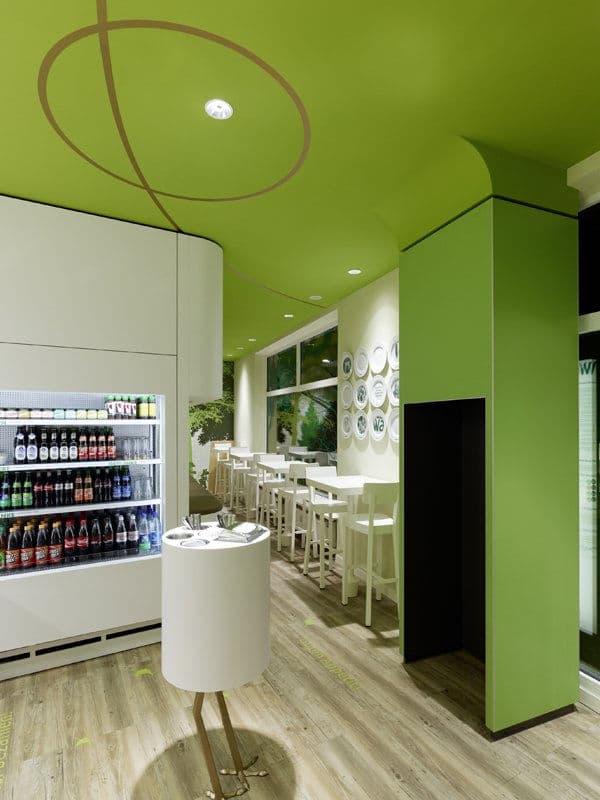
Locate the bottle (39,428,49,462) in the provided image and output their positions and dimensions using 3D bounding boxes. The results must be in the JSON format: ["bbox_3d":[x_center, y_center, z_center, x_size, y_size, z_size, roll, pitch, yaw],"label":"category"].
[{"bbox_3d":[-1.405,0.258,2.871,0.046,0.178,0.084,1,-1,-29],"label":"bottle"}]

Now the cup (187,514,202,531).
[{"bbox_3d":[-0.387,0.453,1.942,0.045,0.065,0.049,0,4,0],"label":"cup"}]

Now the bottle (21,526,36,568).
[{"bbox_3d":[-1.424,0.769,2.743,0.072,0.221,0.110,1,-1,-25],"label":"bottle"}]

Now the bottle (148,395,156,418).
[{"bbox_3d":[-0.892,0.049,3.151,0.050,0.203,0.117,-1,1,-15],"label":"bottle"}]

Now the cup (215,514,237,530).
[{"bbox_3d":[-0.266,0.445,1.940,0.055,0.053,0.063,-1,-2,-18],"label":"cup"}]

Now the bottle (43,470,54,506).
[{"bbox_3d":[-1.385,0.493,2.883,0.071,0.180,0.088,1,-1,-29],"label":"bottle"}]

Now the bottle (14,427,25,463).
[{"bbox_3d":[-1.523,0.251,2.857,0.052,0.185,0.120,1,-2,-33],"label":"bottle"}]

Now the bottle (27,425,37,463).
[{"bbox_3d":[-1.458,0.252,2.854,0.061,0.186,0.067,0,-1,0],"label":"bottle"}]

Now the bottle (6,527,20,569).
[{"bbox_3d":[-1.491,0.773,2.722,0.064,0.217,0.085,1,-1,-31],"label":"bottle"}]

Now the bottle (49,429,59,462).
[{"bbox_3d":[-1.355,0.261,2.880,0.044,0.166,0.061,1,-1,-29],"label":"bottle"}]

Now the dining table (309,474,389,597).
[{"bbox_3d":[0.219,0.964,4.078,0.422,0.609,0.474,13,-2,-25],"label":"dining table"}]

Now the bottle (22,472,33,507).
[{"bbox_3d":[-1.456,0.510,2.801,0.055,0.142,0.054,0,-1,0],"label":"bottle"}]

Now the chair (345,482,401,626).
[{"bbox_3d":[0.515,1.027,3.643,0.331,0.989,0.361,-2,6,-26],"label":"chair"}]

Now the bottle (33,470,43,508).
[{"bbox_3d":[-1.424,0.493,2.846,0.051,0.174,0.081,1,-1,-29],"label":"bottle"}]

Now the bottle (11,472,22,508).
[{"bbox_3d":[-1.518,0.492,2.806,0.052,0.176,0.115,1,-2,-28],"label":"bottle"}]

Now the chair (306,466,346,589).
[{"bbox_3d":[0.222,1.080,4.370,0.288,0.898,0.325,1,-3,-20],"label":"chair"}]

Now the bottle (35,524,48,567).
[{"bbox_3d":[-1.369,0.768,2.779,0.065,0.219,0.131,1,-2,-27],"label":"bottle"}]

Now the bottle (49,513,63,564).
[{"bbox_3d":[-1.321,0.772,2.835,0.067,0.214,0.160,1,-2,-26],"label":"bottle"}]
